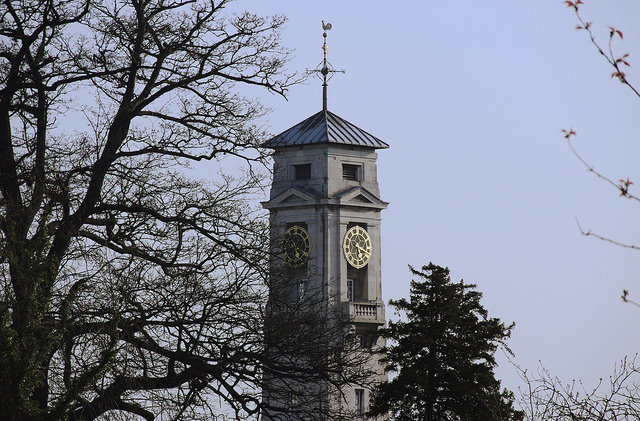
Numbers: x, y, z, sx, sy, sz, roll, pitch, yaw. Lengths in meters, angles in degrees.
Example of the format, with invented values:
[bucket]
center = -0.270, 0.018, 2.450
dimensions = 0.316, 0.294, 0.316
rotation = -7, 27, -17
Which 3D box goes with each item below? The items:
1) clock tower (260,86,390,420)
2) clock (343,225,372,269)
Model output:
[clock tower]
center = 0.827, -0.686, 80.202
dimensions = 5.676, 12.316, 2.968
rotation = 20, -40, -23
[clock]
center = 1.798, 1.753, 79.220
dimensions = 1.870, 2.146, 0.147
rotation = 11, -20, -43
